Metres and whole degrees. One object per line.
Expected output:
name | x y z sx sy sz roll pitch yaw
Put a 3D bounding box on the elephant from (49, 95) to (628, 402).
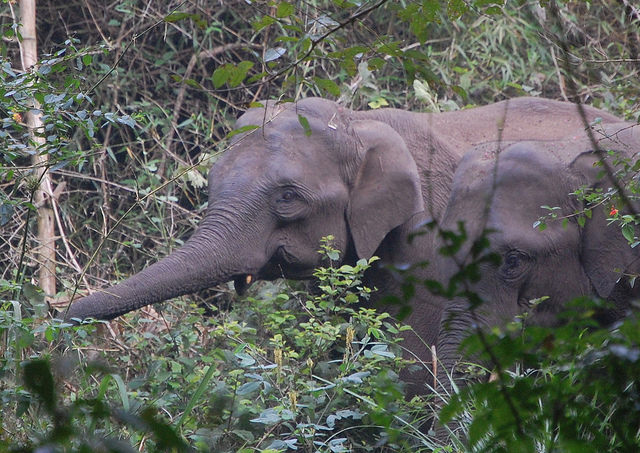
elephant | -0.067 -0.119 5.290 3.395 1.670 1.351 -6 5 -18
